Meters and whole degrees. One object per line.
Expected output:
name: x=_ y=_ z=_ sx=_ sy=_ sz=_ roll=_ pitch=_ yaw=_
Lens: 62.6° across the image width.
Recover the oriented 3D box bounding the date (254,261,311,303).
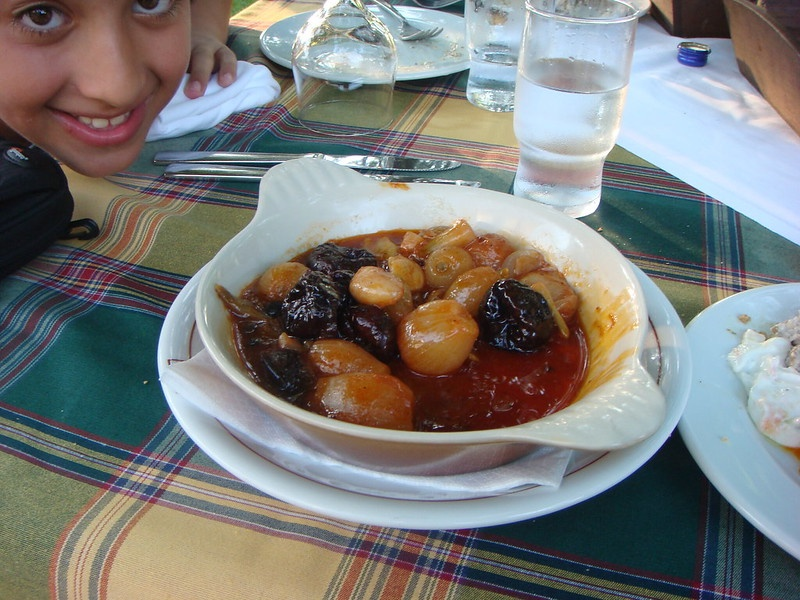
date: x=-0.220 y=-0.033 z=1.191 sx=0.097 sy=0.045 sz=0.069 roll=-27 pitch=26 yaw=7

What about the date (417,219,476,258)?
date: x=0.104 y=-0.122 z=1.296 sx=0.119 sy=0.038 sz=0.053 roll=-22 pitch=52 yaw=-12

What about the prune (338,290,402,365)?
prune: x=-0.052 y=0.052 z=1.120 sx=0.086 sy=0.039 sz=0.109 roll=-15 pitch=70 yaw=-11

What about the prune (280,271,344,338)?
prune: x=-0.141 y=0.010 z=1.124 sx=0.119 sy=0.048 sz=0.102 roll=-2 pitch=74 yaw=-11

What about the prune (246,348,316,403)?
prune: x=-0.210 y=0.129 z=1.091 sx=0.112 sy=0.037 sz=0.078 roll=30 pitch=50 yaw=12

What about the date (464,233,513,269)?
date: x=0.166 y=-0.095 z=1.299 sx=0.098 sy=0.044 sz=0.061 roll=9 pitch=56 yaw=10

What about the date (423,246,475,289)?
date: x=0.095 y=-0.062 z=1.248 sx=0.098 sy=0.053 sz=0.077 roll=-2 pitch=55 yaw=16

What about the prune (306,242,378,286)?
prune: x=-0.111 y=-0.063 z=1.233 sx=0.134 sy=0.038 sz=0.078 roll=8 pitch=35 yaw=-1

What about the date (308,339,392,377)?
date: x=-0.078 y=0.098 z=1.089 sx=0.129 sy=0.055 sz=0.039 roll=10 pitch=80 yaw=0

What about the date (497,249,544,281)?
date: x=0.226 y=-0.065 z=1.246 sx=0.085 sy=0.019 sz=0.050 roll=-20 pitch=53 yaw=-3
